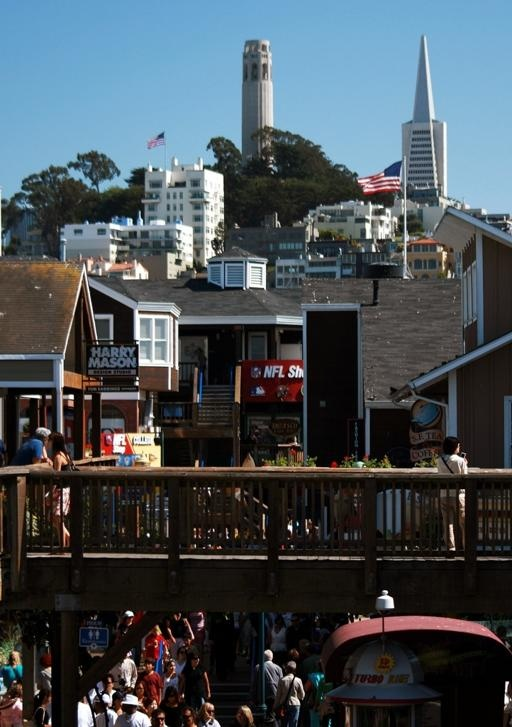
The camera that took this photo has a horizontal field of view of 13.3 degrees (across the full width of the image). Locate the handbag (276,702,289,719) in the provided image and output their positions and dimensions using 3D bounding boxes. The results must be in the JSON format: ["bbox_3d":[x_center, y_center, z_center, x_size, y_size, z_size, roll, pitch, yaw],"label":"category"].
[{"bbox_3d":[0.342,4.736,29.654,0.061,0.233,0.202,1,-3,-41],"label":"handbag"}]

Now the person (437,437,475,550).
[{"bbox_3d":[2.374,1.601,26.811,0.355,1.389,1.199,-1,-2,5],"label":"person"}]

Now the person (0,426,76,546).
[{"bbox_3d":[-2.635,1.538,27.482,0.738,1.487,2.626,-1,-3,-6],"label":"person"}]

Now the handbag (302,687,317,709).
[{"bbox_3d":[0.732,4.626,30.179,0.139,0.275,0.227,-1,-2,6],"label":"handbag"}]

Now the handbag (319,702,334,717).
[{"bbox_3d":[0.891,4.564,28.858,0.205,0.109,0.296,-1,1,-24],"label":"handbag"}]

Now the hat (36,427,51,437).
[{"bbox_3d":[-2.727,0.862,28.375,0.131,0.135,0.206,8,-8,-11],"label":"hat"}]
